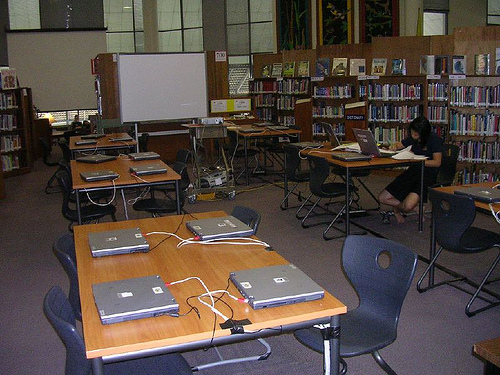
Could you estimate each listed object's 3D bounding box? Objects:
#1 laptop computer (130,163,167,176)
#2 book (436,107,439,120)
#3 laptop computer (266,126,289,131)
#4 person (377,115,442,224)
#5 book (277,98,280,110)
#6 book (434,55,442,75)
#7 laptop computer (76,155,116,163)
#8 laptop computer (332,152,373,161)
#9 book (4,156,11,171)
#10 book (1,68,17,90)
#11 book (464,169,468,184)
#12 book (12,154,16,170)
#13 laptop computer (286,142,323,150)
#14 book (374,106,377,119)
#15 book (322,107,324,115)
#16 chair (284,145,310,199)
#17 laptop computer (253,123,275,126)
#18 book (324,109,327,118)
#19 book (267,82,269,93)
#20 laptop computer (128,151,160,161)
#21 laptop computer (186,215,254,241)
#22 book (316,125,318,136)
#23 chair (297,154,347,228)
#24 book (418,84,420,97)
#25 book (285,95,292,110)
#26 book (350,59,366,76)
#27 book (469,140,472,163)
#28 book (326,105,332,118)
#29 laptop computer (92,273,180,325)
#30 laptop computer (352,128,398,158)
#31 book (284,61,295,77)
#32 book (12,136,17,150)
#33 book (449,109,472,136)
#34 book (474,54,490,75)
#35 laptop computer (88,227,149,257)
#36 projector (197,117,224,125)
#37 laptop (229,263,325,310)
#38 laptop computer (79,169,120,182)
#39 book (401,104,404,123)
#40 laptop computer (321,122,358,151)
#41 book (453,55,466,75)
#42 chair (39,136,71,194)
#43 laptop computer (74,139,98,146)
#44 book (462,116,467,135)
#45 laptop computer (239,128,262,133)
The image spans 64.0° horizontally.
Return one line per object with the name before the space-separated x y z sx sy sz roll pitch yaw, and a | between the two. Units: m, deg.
laptop computer | -1.137 -0.199 4.448 0.363 0.051 0.402 -9 17 -28
book | 3.354 -1.320 7.165 0.020 0.213 0.063 -9 17 -30
laptop computer | 0.516 -1.109 7.522 0.403 0.057 0.384 1 15 6
person | 2.162 -0.201 5.402 0.853 1.540 0.595 -15 24 -20
book | 0.670 -1.990 9.550 0.094 0.285 0.278 0 6 -1
book | 3.416 -2.237 7.309 0.133 0.321 0.203 5 16 22
laptop computer | -1.993 -0.376 5.232 0.433 0.046 0.382 7 17 28
laptop computer | 1.261 -0.401 5.110 0.400 0.047 0.540 -6 16 -16
book | -5.531 -0.559 9.162 0.056 0.236 0.251 -1 14 -11
book | -5.541 -2.474 9.197 0.263 0.460 0.651 -7 16 -23
book | 3.500 -0.175 6.512 0.033 0.259 0.193 0 7 19
book | -5.487 -0.587 9.311 0.051 0.325 0.127 -5 15 -15
laptop computer | 0.859 -0.634 6.016 0.452 0.088 0.668 1 15 9
book | 2.443 -1.457 7.812 0.072 0.231 0.031 11 19 40
book | 1.544 -1.618 8.506 0.041 0.151 0.038 5 15 22
chair | 0.604 -0.312 5.691 0.465 0.760 0.501 -2 12 -9
laptop computer | 0.285 -1.267 8.051 0.410 0.017 0.591 2 16 10
book | 1.586 -1.562 8.458 0.076 0.160 0.045 8 17 32
book | 0.436 -2.492 9.894 0.039 0.172 0.152 3 2 -13
laptop computer | -1.418 -0.423 5.315 0.336 0.061 0.489 -8 17 -24
laptop computer | -0.222 0.279 2.836 0.393 0.058 0.458 -8 17 -23
book | 1.435 -1.229 8.587 0.034 0.206 0.077 0 14 4
chair | 0.953 0.024 5.264 0.604 0.952 0.594 -5 15 -8
book | 3.104 -1.777 7.364 0.019 0.217 0.046 -11 17 -33
book | 0.889 -1.970 9.353 0.158 0.298 0.300 0 10 -1
book | 2.126 -2.379 7.948 0.300 0.351 0.080 -1 -5 13
book | 3.556 -0.578 6.494 0.046 0.329 0.114 6 16 24
book | 1.650 -1.592 8.445 0.094 0.218 0.118 -3 15 -8
laptop computer | -0.552 0.523 1.891 0.337 0.055 0.387 -8 17 -24
laptop computer | 1.579 -0.585 5.143 0.367 0.329 0.434 -7 12 -22
book | 0.908 -2.760 9.334 0.262 0.357 0.190 4 15 18
book | -5.447 -1.036 9.275 0.084 0.287 0.151 -6 15 -20
book | 3.523 -1.078 6.614 0.390 0.359 0.332 6 22 31
book | 3.711 -1.980 6.426 0.226 0.310 0.186 7 16 27
laptop computer | -0.867 0.351 2.614 0.342 0.057 0.428 -8 17 -24
projector | -0.656 -1.102 6.658 0.423 0.110 0.211 -3 15 -6
laptop | 0.119 0.473 2.035 0.412 0.057 0.429 -5 16 -14
laptop computer | -1.602 -0.133 4.259 0.353 0.047 0.446 -10 18 -31
book | 2.880 -1.388 7.592 0.054 0.280 0.076 2 15 11
laptop computer | 1.329 -0.778 5.963 0.496 0.350 0.472 -5 12 -17
book | 3.425 -2.012 6.562 0.211 0.296 0.154 4 15 19
chair | -3.923 -0.455 8.170 0.723 1.010 0.716 4 9 14
laptop computer | -2.772 -0.772 6.751 0.344 0.041 0.697 -8 17 -23
book | 3.480 -1.005 6.493 0.078 0.289 0.048 8 17 30
laptop computer | 0.001 -1.044 7.425 0.438 0.036 0.342 2 16 10
